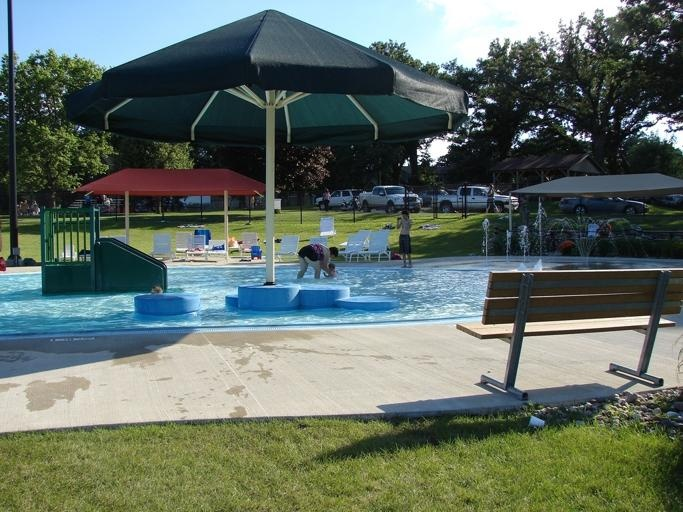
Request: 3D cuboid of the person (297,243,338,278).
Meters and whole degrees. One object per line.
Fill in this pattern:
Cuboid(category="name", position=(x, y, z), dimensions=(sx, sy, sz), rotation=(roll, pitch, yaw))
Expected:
Cuboid(category="person", position=(-0.640, 0.248, 16.029), dimensions=(1.182, 0.995, 0.710), rotation=(0, 14, -15))

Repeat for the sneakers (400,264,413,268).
Cuboid(category="sneakers", position=(2.233, 0.357, 19.485), dimensions=(0.264, 0.116, 0.382), rotation=(-3, -8, 14))

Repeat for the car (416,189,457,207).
Cuboid(category="car", position=(6.741, -4.176, 41.374), dimensions=(2.487, 0.841, 1.150), rotation=(-2, 6, 27))

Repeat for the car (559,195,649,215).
Cuboid(category="car", position=(15.641, -3.033, 34.444), dimensions=(4.702, 0.931, 1.345), rotation=(0, 6, -1))

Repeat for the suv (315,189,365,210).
Cuboid(category="suv", position=(0.047, -4.534, 45.765), dimensions=(4.032, 1.216, 1.747), rotation=(6, 11, 39))

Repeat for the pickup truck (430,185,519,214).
Cuboid(category="pickup truck", position=(8.897, -3.774, 38.648), dimensions=(6.283, 1.980, 2.675), rotation=(0, 5, 17))

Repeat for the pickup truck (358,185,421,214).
Cuboid(category="pickup truck", position=(3.544, -4.120, 41.469), dimensions=(2.238, 1.477, 4.548), rotation=(-4, 5, -41))
